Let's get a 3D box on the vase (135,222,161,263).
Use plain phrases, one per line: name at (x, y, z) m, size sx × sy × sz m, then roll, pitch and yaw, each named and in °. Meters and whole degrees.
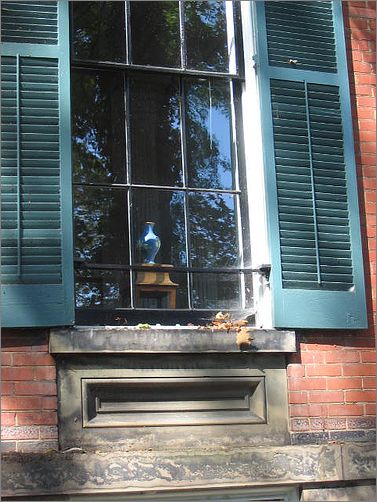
vase at (-0.201, -0.039, 5.049) m, size 0.111 × 0.219 × 0.085 m, roll -1°, pitch -2°, yaw -9°
